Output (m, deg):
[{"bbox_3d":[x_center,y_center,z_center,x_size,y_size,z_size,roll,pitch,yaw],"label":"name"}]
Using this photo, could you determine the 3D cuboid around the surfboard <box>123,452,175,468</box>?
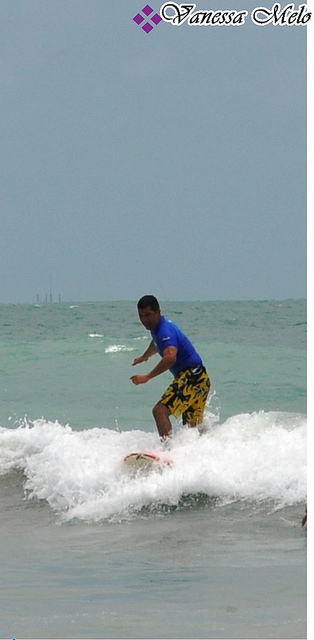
[{"bbox_3d":[-0.068,1.191,7.350,0.442,0.115,0.108,0,12,18],"label":"surfboard"}]

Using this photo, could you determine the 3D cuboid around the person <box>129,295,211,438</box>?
[{"bbox_3d":[0.085,0.408,7.601,0.786,1.239,0.391,-15,16,-43],"label":"person"}]

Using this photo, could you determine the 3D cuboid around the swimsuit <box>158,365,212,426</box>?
[{"bbox_3d":[0.318,0.645,7.741,0.289,0.627,0.474,22,18,34],"label":"swimsuit"}]

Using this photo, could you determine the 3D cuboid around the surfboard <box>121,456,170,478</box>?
[{"bbox_3d":[-0.112,1.248,7.344,0.455,0.185,0.137,3,13,28],"label":"surfboard"}]
